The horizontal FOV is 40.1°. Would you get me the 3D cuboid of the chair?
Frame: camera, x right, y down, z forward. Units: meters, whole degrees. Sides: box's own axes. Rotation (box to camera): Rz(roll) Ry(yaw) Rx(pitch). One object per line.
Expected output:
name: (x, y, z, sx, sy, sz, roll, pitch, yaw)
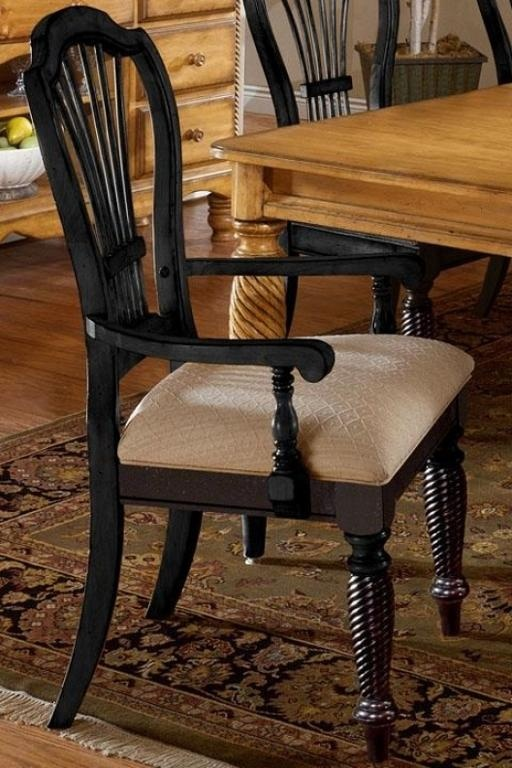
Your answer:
chair: (-0.027, -0.011, 0.919, 0.523, 0.895, 0.525, 4, 14, 26)
